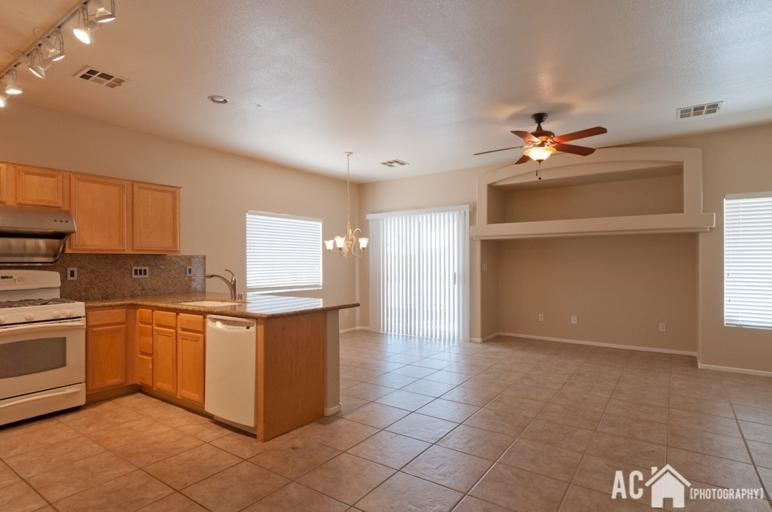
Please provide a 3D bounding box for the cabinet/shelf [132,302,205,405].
[{"bbox_3d":[-2.654,1.203,5.899,1.336,1.059,0.507,-1,-6,31],"label":"cabinet/shelf"}]

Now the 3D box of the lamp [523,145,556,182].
[{"bbox_3d":[2.062,-1.208,6.413,0.432,0.412,0.428,-8,-15,41],"label":"lamp"}]

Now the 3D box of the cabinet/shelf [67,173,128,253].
[{"bbox_3d":[-3.779,-0.556,6.292,0.757,1.043,0.285,-7,16,-29],"label":"cabinet/shelf"}]

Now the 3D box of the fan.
[{"bbox_3d":[2.325,-1.654,6.702,1.023,0.670,1.994,4,13,14],"label":"fan"}]

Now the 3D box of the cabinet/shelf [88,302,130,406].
[{"bbox_3d":[-3.545,1.162,6.077,0.561,1.019,0.320,-8,16,-30],"label":"cabinet/shelf"}]

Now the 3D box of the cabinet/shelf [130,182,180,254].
[{"bbox_3d":[-3.202,-0.551,7.078,0.977,0.957,0.952,0,9,-31],"label":"cabinet/shelf"}]
